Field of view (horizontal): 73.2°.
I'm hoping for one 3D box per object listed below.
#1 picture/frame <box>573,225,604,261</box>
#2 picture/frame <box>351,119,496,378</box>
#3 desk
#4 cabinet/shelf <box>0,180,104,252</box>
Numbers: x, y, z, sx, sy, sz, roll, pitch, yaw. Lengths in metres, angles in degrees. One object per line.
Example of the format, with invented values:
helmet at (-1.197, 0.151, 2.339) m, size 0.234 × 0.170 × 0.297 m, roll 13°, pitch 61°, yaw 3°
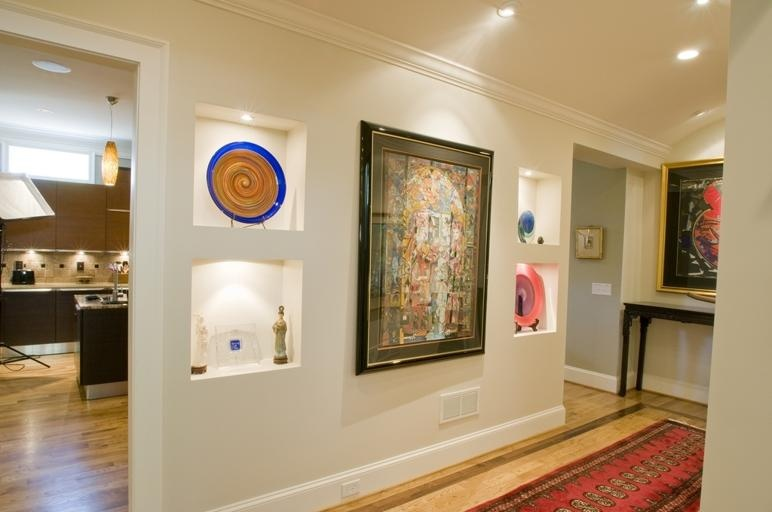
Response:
picture/frame at (2.575, -0.162, 6.577) m, size 0.050 × 0.520 × 0.419 m, roll 6°, pitch -3°, yaw -39°
picture/frame at (0.320, -0.094, 4.452) m, size 1.366 × 1.994 × 0.309 m, roll -4°, pitch 11°, yaw -29°
desk at (3.314, 1.082, 6.128) m, size 1.305 × 1.175 × 0.552 m, roll -1°, pitch -1°, yaw 39°
cabinet/shelf at (-4.673, -0.547, 7.170) m, size 0.996 × 0.903 × 0.325 m, roll 0°, pitch -1°, yaw -31°
